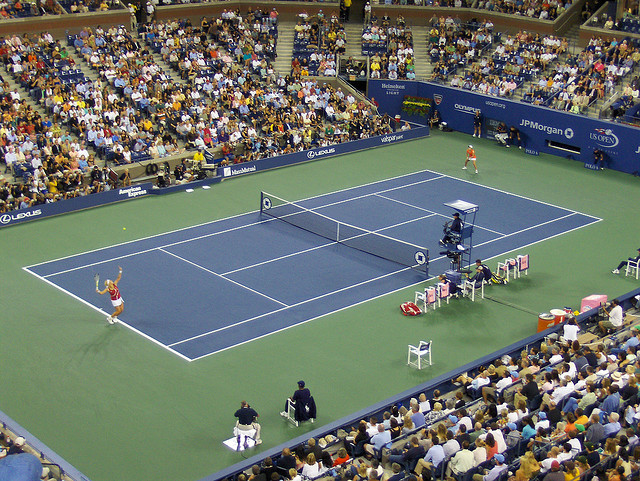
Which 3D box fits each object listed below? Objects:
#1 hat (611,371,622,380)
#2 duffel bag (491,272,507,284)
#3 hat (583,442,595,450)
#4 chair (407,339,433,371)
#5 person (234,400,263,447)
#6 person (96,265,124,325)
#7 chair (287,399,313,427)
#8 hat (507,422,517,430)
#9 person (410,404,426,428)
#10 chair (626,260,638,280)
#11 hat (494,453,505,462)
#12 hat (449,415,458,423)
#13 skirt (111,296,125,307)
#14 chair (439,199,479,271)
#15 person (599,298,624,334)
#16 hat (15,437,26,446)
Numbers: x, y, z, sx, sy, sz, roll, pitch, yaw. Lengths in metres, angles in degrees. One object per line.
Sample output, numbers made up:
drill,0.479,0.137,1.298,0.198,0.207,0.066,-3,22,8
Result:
hat,10.778,4.918,28.627,0.367,0.287,0.319,9,30,21
duffel bag,9.033,1.964,39.808,0.572,0.265,0.603,6,14,-1
hat,8.774,6.635,25.648,0.321,0.205,0.352,5,29,13
chair,4.224,4.845,33.559,0.978,1.096,1.048,-3,-21,18
person,-2.760,6.837,29.811,1.045,1.874,0.987,1,5,39
person,-9.559,2.609,36.378,0.797,2.084,1.368,-11,29,-15
chair,-0.726,6.635,30.335,0.587,1.116,0.686,16,30,29
hat,6.499,6.264,26.661,0.336,0.290,0.235,-5,28,-5
person,3.423,6.163,27.665,0.502,0.539,0.760,1,29,7
chair,15.872,1.437,40.017,0.559,0.677,0.538,9,30,21
hat,5.758,6.974,25.282,0.275,0.156,0.205,14,45,18
hat,4.601,6.150,27.121,0.255,0.066,0.187,32,-10,14
skirt,-9.246,2.823,35.982,0.339,0.286,0.362,-7,-2,13
chair,6.970,-0.013,39.379,1.635,3.792,1.315,9,-1,14
person,12.593,3.365,34.278,0.841,1.812,0.744,11,17,33
hat,-9.970,6.686,26.255,0.229,0.283,0.329,12,-5,5
